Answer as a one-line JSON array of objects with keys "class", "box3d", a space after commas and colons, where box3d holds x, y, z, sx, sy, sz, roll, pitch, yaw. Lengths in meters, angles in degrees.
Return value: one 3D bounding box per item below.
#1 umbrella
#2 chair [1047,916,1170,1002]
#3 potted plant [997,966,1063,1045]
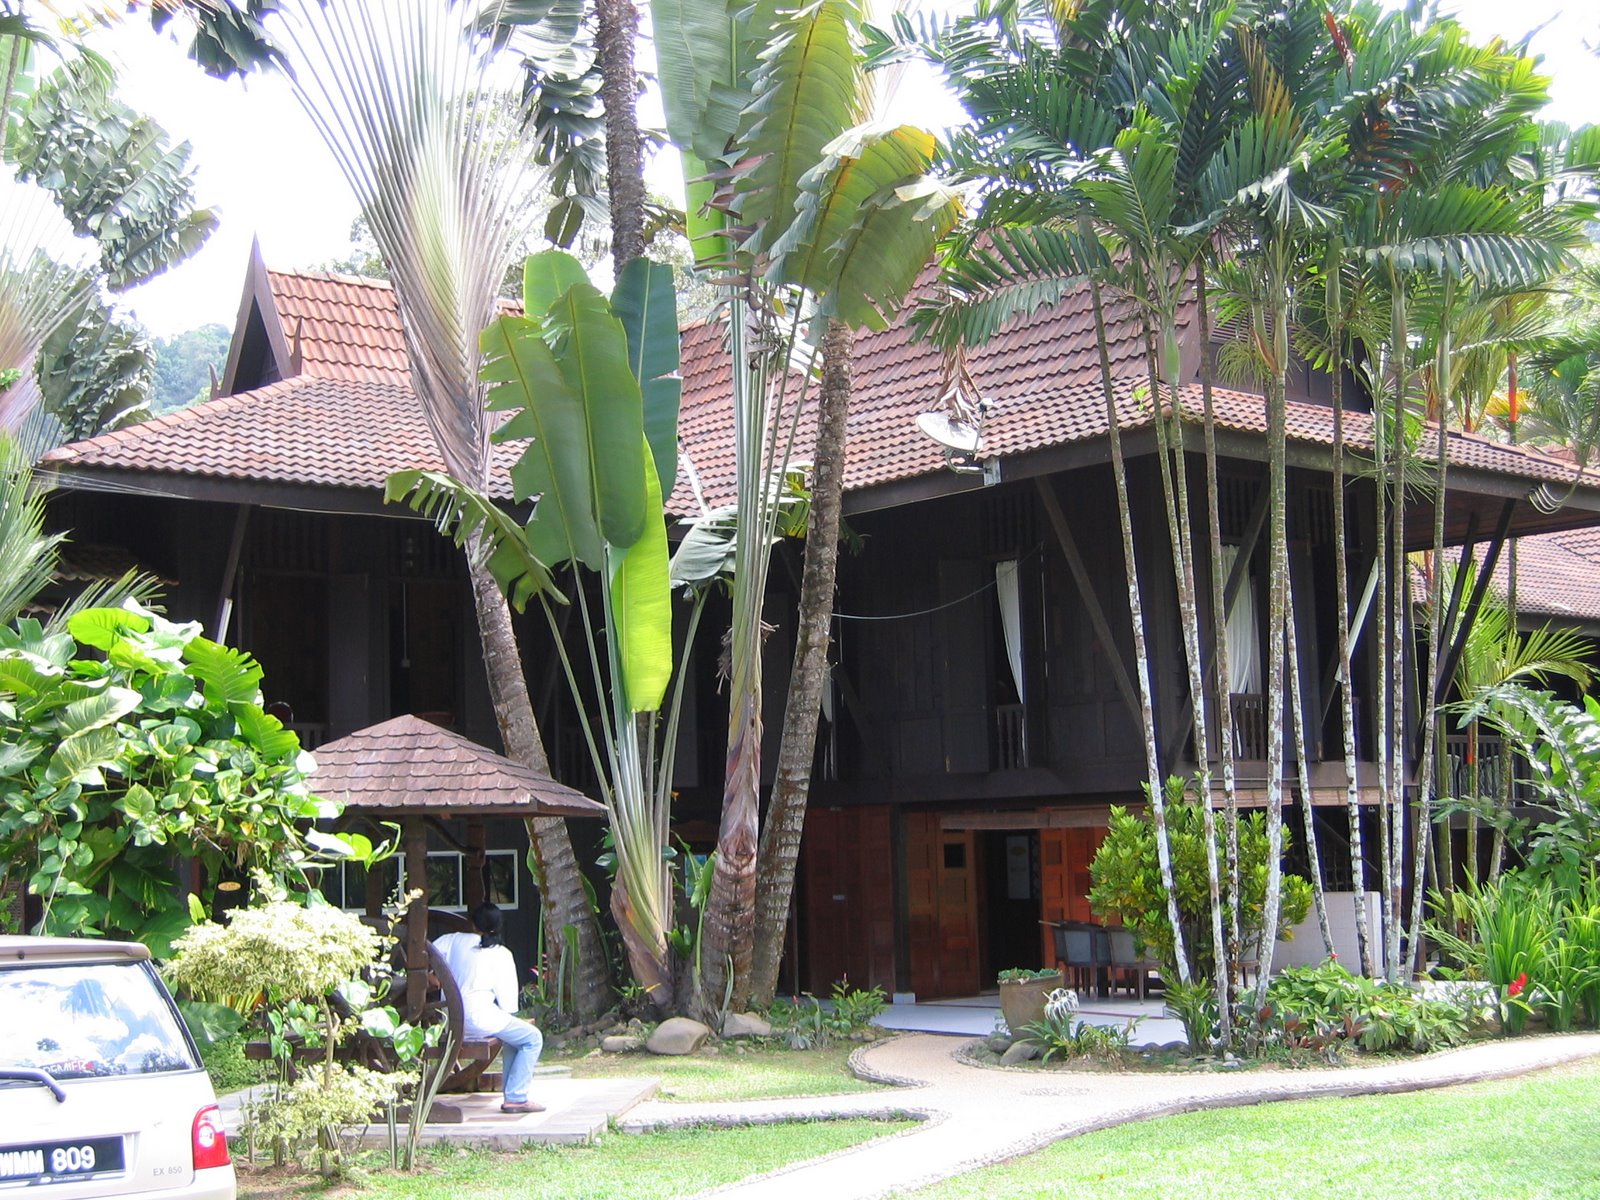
[{"class": "umbrella", "box3d": [-3.048, 2.477, 12.482, 2.499, 3.329, 2.691, -1, -4, 9]}, {"class": "chair", "box3d": [3.664, 4.283, 17.108, 1.186, 0.953, 2.136, -4, -9, 14]}, {"class": "potted plant", "box3d": [2.204, 3.866, 13.703, 0.562, 0.708, 0.600, -1, -7, 15]}]
